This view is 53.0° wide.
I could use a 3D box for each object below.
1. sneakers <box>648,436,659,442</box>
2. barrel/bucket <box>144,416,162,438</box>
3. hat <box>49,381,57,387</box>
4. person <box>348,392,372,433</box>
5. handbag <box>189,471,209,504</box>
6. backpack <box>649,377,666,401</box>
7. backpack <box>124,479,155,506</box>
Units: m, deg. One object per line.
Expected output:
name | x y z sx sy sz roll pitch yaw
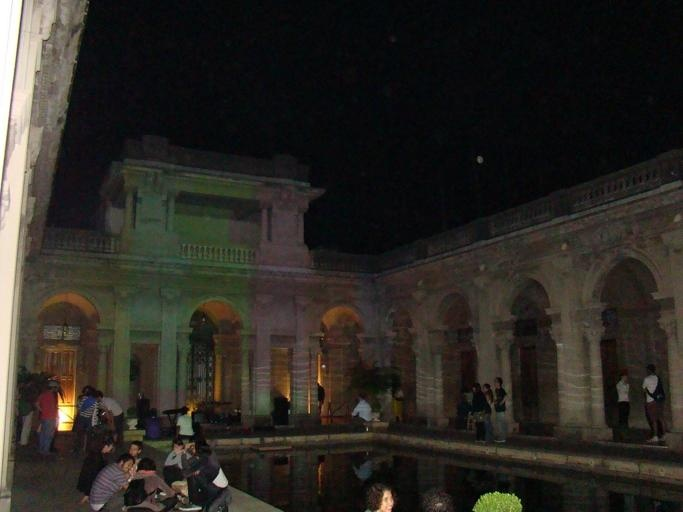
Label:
sneakers | 8.328 4.897 18.304 0.311 0.189 0.102 -1 -12 13
barrel/bucket | -5.899 5.447 21.730 0.578 0.638 0.579 -1 -7 0
hat | -7.528 3.350 17.959 0.164 0.120 0.165 -2 -5 27
person | 0.623 5.023 22.063 0.604 1.269 0.706 -11 15 -41
handbag | -2.396 3.873 11.414 0.370 0.497 0.168 -12 -18 36
backpack | 8.272 3.516 18.001 0.484 0.603 0.229 8 -17 -32
backpack | -3.580 4.112 12.117 0.386 0.465 0.466 10 6 31
